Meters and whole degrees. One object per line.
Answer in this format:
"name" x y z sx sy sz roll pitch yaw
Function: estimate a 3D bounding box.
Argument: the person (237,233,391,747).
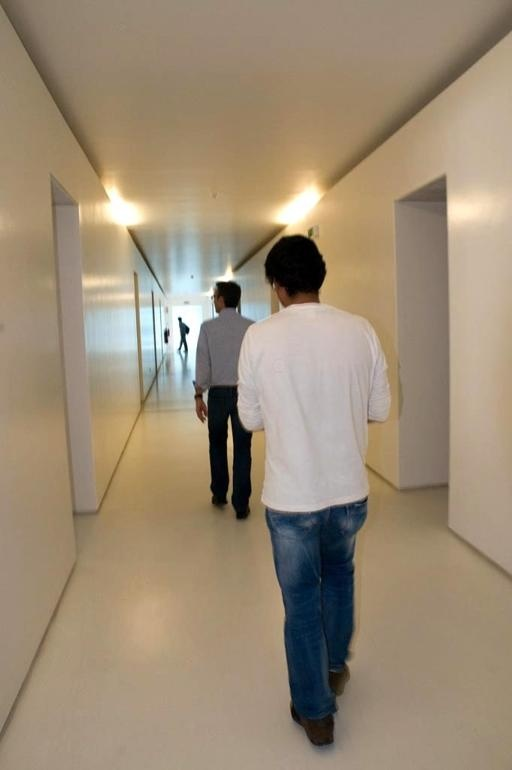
"person" 0.183 0.419 1.496 0.454 1.319 0.320 -3 3 -28

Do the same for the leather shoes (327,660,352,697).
"leather shoes" 0.281 0.993 1.732 0.082 0.113 0.116 -30 -19 -5

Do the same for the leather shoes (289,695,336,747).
"leather shoes" 0.180 1.026 1.521 0.053 0.084 0.157 5 -10 -14
